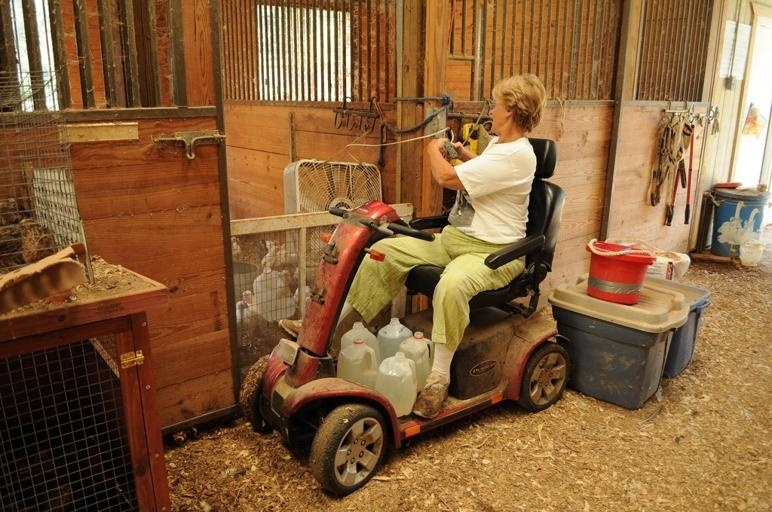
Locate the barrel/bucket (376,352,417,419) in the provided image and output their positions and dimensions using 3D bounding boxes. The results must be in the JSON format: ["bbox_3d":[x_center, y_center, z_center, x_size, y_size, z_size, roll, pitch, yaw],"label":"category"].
[{"bbox_3d":[0.068,0.799,3.425,0.273,0.376,0.218,-2,24,-16],"label":"barrel/bucket"}]

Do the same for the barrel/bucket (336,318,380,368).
[{"bbox_3d":[-0.162,0.520,3.500,0.249,0.445,0.271,0,3,0],"label":"barrel/bucket"}]

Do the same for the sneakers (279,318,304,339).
[{"bbox_3d":[-0.616,0.456,3.489,0.091,0.100,0.238,29,10,22],"label":"sneakers"}]

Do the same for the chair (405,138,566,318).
[{"bbox_3d":[0.683,-0.240,3.754,0.933,1.180,1.017,16,21,29],"label":"chair"}]

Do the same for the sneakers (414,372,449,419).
[{"bbox_3d":[0.300,0.857,3.460,0.144,0.175,0.347,23,26,26],"label":"sneakers"}]

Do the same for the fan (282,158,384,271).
[{"bbox_3d":[-0.524,-0.483,4.631,0.838,0.820,0.325,0,-15,27],"label":"fan"}]

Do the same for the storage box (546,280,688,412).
[{"bbox_3d":[1.842,0.630,4.166,0.964,0.831,0.984,-13,18,-26],"label":"storage box"}]

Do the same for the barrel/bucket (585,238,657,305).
[{"bbox_3d":[1.667,0.091,3.962,0.473,0.406,0.460,5,10,-1],"label":"barrel/bucket"}]
